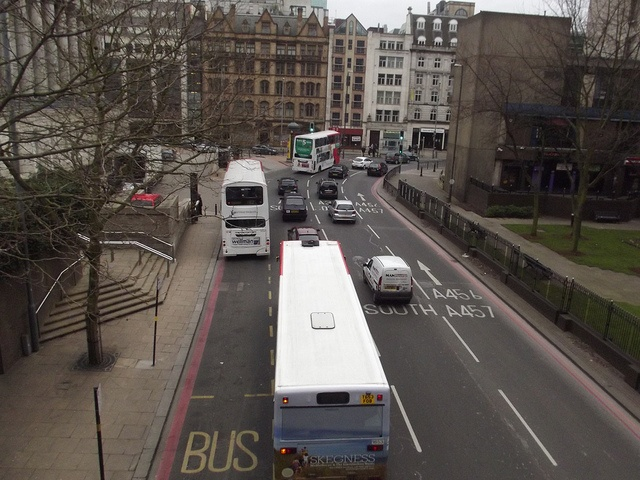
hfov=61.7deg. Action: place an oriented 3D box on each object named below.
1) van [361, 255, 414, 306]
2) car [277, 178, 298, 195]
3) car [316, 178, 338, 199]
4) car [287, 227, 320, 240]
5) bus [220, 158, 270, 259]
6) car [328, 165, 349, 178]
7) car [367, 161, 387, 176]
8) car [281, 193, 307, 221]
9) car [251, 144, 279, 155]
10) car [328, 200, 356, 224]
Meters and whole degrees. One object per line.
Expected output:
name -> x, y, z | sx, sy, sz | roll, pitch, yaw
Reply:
van -> 3.406, 1.727, 27.993 | 1.478, 1.485, 2.845 | -1, 24, -6
car -> -3.313, -5.268, 52.661 | 1.801, 1.493, 3.456 | -2, 13, -6
car -> 0.695, -4.924, 51.890 | 1.166, 1.193, 2.208 | 1, 29, -1
car -> -0.982, -0.262, 32.298 | 1.511, 0.721, 2.864 | -4, 13, -14
bus -> -4.574, -1.832, 32.406 | 2.264, 3.134, 7.262 | 0, 45, -5
car -> 2.098, -8.206, 64.367 | 1.347, 1.578, 3.213 | 4, 13, 24
car -> 7.396, -9.346, 69.451 | 1.294, 1.249, 3.236 | 5, 28, 11
car -> -2.139, -2.424, 42.272 | 1.918, 1.950, 1.447 | -2, 12, -6
car -> -8.924, -14.112, 83.417 | 2.615, 1.419, 4.683 | 8, 16, 37
car -> 1.704, -2.393, 43.038 | 1.208, 1.135, 2.335 | 0, 22, -4
